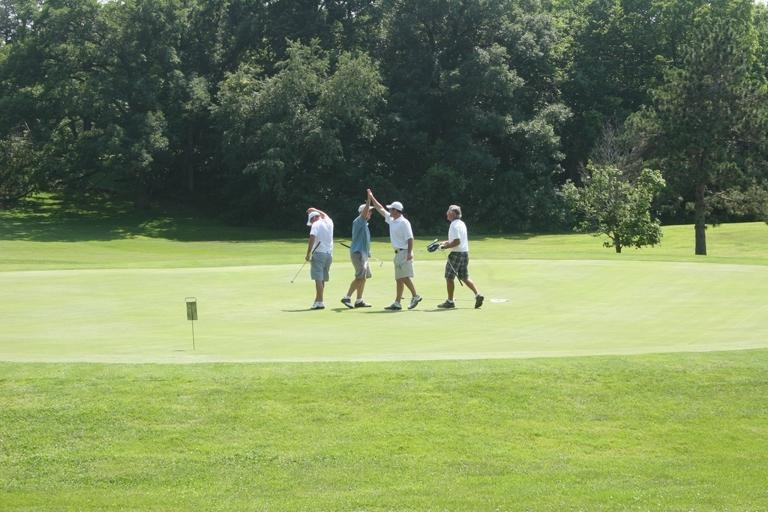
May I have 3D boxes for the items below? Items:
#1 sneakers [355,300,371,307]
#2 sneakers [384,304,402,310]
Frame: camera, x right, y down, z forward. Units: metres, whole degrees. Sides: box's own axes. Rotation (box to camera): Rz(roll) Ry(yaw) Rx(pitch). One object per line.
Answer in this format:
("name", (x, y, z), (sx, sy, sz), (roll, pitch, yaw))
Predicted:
("sneakers", (-0.748, 1.858, 48.437), (0.672, 0.242, 0.207), (-2, 4, -16))
("sneakers", (0.274, 1.958, 48.004), (0.707, 0.255, 0.223), (1, 0, 19))
